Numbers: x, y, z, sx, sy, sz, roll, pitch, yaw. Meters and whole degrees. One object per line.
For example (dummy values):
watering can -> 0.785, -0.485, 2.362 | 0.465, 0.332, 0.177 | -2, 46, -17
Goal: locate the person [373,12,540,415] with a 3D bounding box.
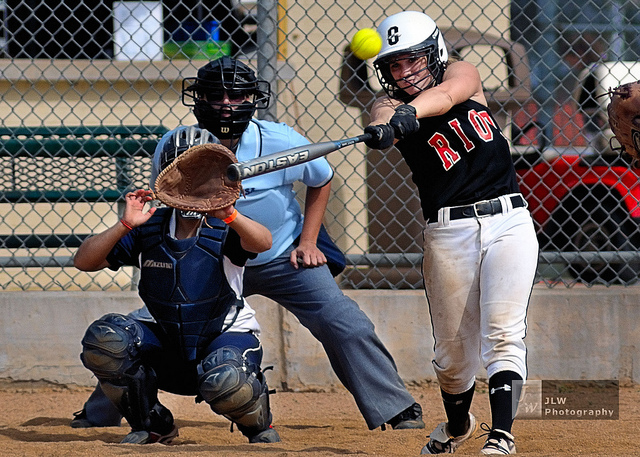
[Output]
person -> 0.934, -0.107, 8.783 | 1.068, 2.769, 0.597 | 0, 0, -5

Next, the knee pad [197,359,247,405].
knee pad -> -0.620, 1.026, 8.850 | 0.244, 0.152, 0.326 | -11, 17, 40

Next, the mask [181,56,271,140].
mask -> -0.662, -0.916, 9.044 | 0.598, 0.576, 0.237 | 0, 0, -6

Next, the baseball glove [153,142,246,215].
baseball glove -> -0.816, -0.328, 8.548 | 0.614, 0.386, 0.253 | -16, 6, 6

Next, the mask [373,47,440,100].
mask -> 0.596, -1.066, 8.896 | 0.430, 0.349, 0.162 | 0, 0, 4

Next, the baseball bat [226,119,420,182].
baseball bat -> -0.022, -0.517, 8.490 | 1.252, 0.121, 0.133 | -16, 30, -25

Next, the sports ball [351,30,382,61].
sports ball -> 0.299, -1.296, 9.062 | 0.244, 0.210, 0.227 | -4, 1, 0
